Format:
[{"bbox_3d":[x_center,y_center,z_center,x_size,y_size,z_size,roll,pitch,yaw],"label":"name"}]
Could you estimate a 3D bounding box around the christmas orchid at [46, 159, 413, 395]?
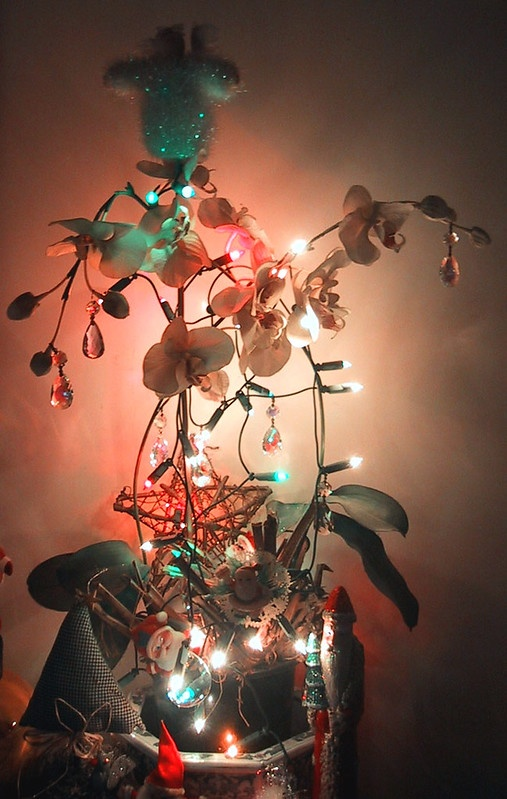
[{"bbox_3d":[-0.085,-0.157,0.974,0.337,0.170,0.436,16,2,-45],"label":"christmas orchid"}]
